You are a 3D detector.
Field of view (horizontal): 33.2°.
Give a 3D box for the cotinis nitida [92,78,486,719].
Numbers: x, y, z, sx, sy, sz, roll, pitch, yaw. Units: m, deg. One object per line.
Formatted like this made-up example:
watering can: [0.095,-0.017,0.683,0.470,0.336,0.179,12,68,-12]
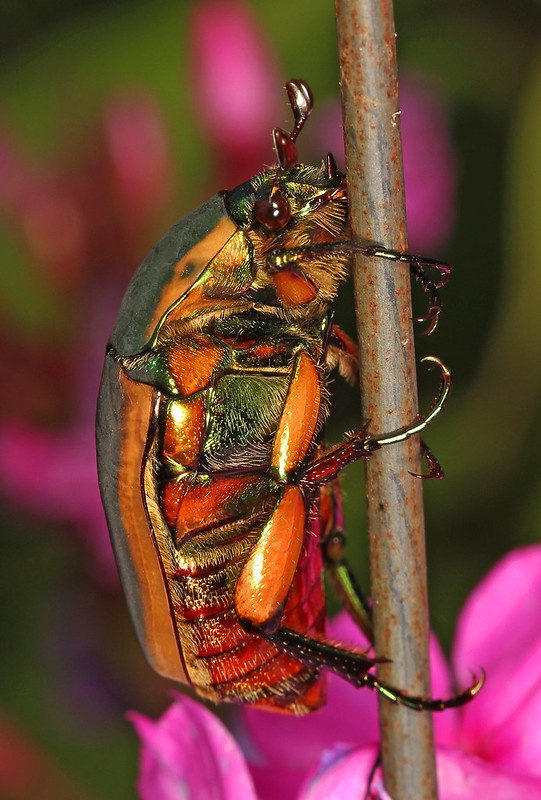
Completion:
cotinis nitida: [0.002,0.006,0.582,0.137,0.361,0.333,2,91,-17]
